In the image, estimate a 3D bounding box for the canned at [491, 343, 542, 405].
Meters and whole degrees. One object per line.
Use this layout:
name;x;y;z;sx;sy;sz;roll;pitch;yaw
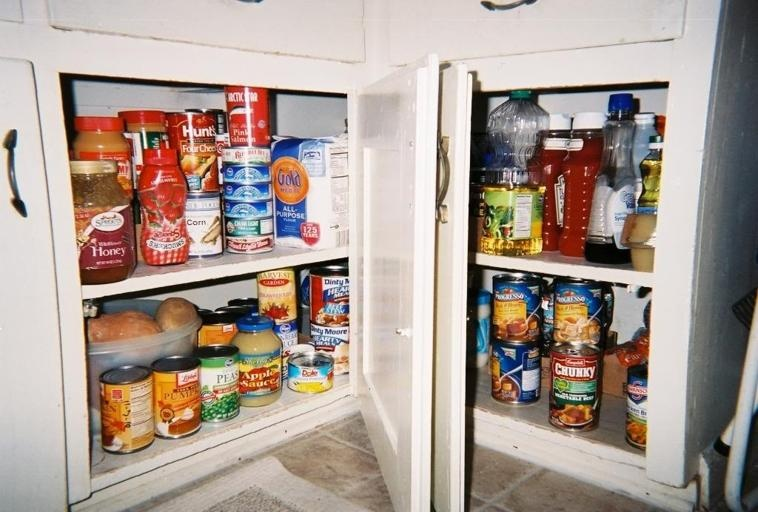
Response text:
canned;0.402;0.341;1.902;0.195;0.176;0.183;2;7;21

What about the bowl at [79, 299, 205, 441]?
bowl;-0.659;0.287;1.767;0.377;0.242;0.353;3;17;-1

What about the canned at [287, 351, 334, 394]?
canned;-0.201;0.351;1.850;0.129;0.071;0.125;-6;9;-44

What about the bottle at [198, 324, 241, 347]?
bottle;-0.485;0.227;1.859;0.089;0.080;0.081;2;8;0
